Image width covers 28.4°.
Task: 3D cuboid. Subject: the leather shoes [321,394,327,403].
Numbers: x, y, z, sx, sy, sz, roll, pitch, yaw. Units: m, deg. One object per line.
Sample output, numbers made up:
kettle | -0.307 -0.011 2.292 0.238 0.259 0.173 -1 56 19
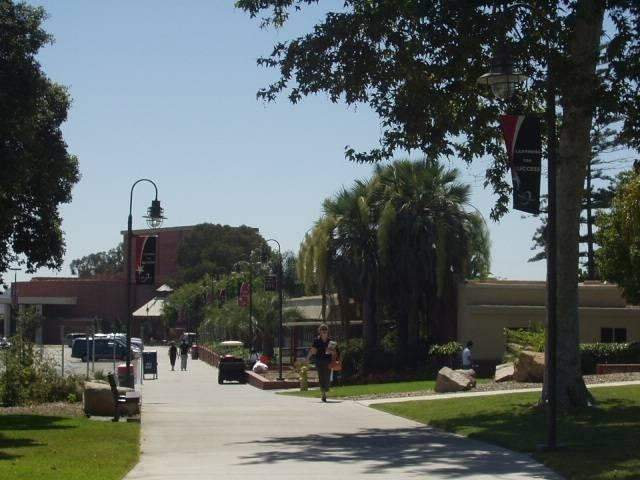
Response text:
leather shoes | 0.137 5.000 39.958 0.211 0.260 0.136 -4 -5 41

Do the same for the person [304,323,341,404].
person | 0.145 3.704 39.073 0.695 2.678 0.901 1 -2 -22

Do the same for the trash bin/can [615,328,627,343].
trash bin/can | 12.919 4.069 54.052 0.482 0.620 0.514 1 -6 -7
